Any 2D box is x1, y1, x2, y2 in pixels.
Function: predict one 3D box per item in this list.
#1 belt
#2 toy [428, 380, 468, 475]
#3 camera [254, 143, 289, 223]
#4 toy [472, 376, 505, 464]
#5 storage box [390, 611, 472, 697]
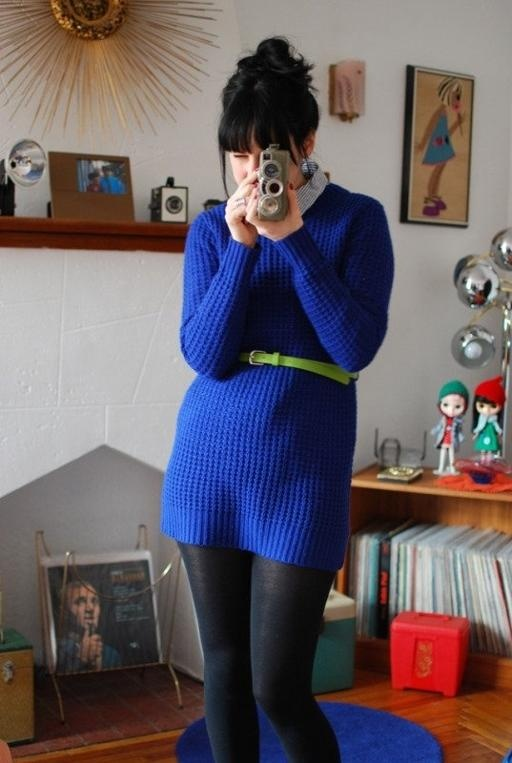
[{"bbox_3d":[0.055,-0.017,0.835,0.085,0.020,0.061,9,-5,2],"label":"belt"},{"bbox_3d":[0.602,0.148,2.086,0.108,0.304,0.096,4,2,19],"label":"toy"},{"bbox_3d":[0.018,-0.212,0.719,0.034,0.075,0.027,1,9,0],"label":"camera"},{"bbox_3d":[0.701,0.113,2.022,0.091,0.265,0.195,5,9,20],"label":"toy"},{"bbox_3d":[0.488,0.777,1.904,0.211,0.193,0.123,-1,-5,22],"label":"storage box"}]
